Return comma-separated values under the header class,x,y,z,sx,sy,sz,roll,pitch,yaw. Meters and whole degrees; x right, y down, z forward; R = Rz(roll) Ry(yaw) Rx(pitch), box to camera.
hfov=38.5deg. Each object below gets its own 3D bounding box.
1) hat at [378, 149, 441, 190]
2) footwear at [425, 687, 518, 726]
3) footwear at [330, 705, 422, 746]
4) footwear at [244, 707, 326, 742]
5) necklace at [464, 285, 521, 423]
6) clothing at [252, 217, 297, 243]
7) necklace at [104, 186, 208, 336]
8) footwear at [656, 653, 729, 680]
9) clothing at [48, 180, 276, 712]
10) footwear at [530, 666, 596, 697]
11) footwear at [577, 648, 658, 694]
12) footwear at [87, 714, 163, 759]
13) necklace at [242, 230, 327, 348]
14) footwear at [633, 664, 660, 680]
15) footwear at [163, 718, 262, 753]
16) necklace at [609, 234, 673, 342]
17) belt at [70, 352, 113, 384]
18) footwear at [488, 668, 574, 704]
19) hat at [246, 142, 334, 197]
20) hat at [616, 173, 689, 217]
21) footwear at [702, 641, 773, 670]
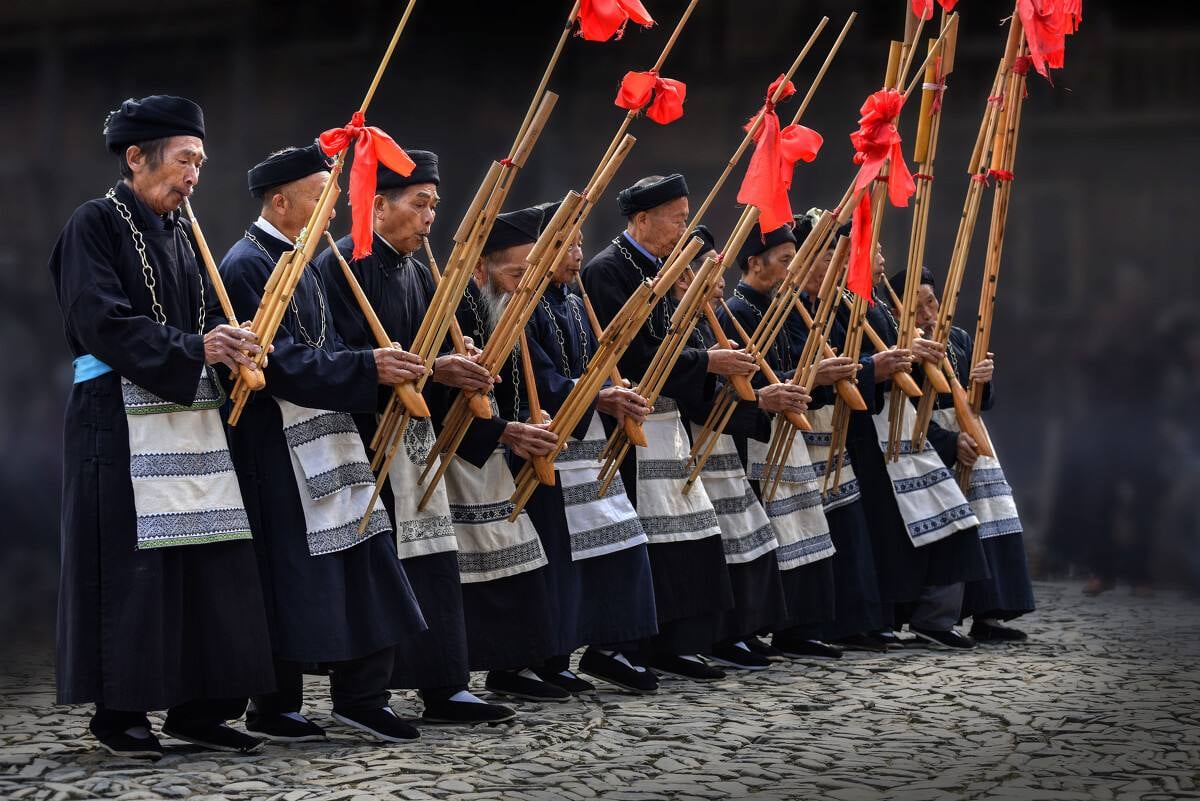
class,x,y,z,sx,sy,sz,roll,pitch,yaw
hat,-0.786,-0.913,6.845,0.178,0.094,0.193,-1,-2,-37
footwear,-0.526,1.220,6.845,0.410,0.133,0.131,-1,-7,6
footwear,-0.838,1.235,6.634,0.376,0.136,0.121,17,-2,1
footwear,-1.215,1.255,6.666,0.301,0.107,0.110,1,-7,8
necklace,-0.436,-0.189,7.086,0.387,0.479,0.138,2,-3,-21
clothing,-1.265,-0.658,6.676,0.117,0.027,0.106,39,17,14
necklace,-1.697,-0.534,6.428,0.106,0.560,0.332,-19,-8,29
footwear,0.380,1.155,7.508,0.351,0.122,0.112,3,-2,4
clothing,-1.636,0.168,6.384,0.749,1.909,0.505,-1,8,-17
footwear,-0.147,1.180,7.245,0.303,0.082,0.105,19,6,2
footwear,0.064,1.141,7.345,0.407,0.154,0.134,9,3,21
footwear,-1.746,1.234,6.346,0.287,0.110,0.137,3,-2,29
necklace,-1.212,-0.437,6.686,0.271,0.501,0.114,6,-21,-41
footwear,0.185,1.154,7.301,0.062,0.039,0.115,4,-5,-18
footwear,-1.452,1.266,6.529,0.387,0.121,0.124,9,-13,3
necklace,0.158,-0.500,7.575,0.231,0.402,0.317,-9,-4,38
belt,-1.890,-0.118,6.408,0.141,0.089,0.105,-5,-14,10
footwear,-0.311,1.184,7.162,0.395,0.127,0.127,3,-1,15
hat,-1.242,-0.899,6.750,0.376,0.170,0.285,-17,-1,-18
hat,0.230,-0.904,7.596,0.260,0.094,0.188,-17,4,2
footwear,0.614,1.140,7.726,0.331,0.126,0.106,7,1,10
